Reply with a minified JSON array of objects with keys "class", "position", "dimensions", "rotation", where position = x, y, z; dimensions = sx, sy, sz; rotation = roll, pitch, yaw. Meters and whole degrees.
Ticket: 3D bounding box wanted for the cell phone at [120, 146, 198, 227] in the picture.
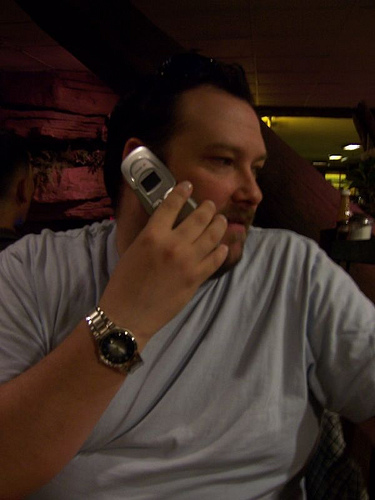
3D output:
[{"class":"cell phone","position":[-0.057,-0.137,0.993],"dimensions":[0.218,0.105,0.051],"rotation":[48,7,1]}]
